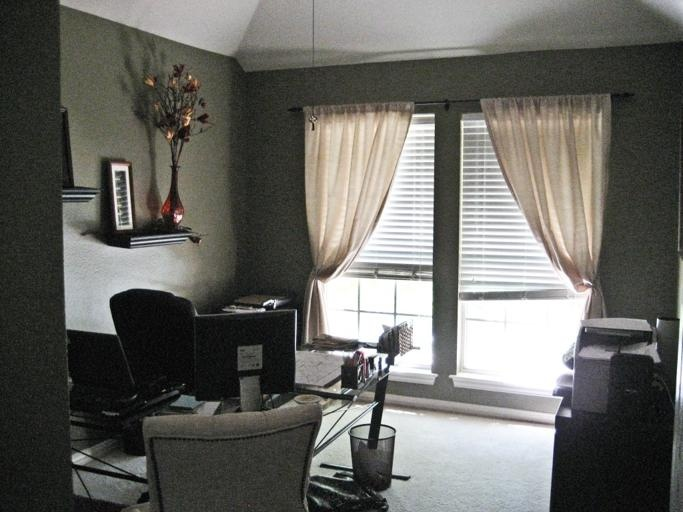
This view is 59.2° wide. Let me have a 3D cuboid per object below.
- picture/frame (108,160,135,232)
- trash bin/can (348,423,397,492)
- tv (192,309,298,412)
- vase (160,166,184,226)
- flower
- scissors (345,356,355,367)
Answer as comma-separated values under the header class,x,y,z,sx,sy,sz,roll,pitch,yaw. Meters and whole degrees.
class,x,y,z,sx,sy,sz,roll,pitch,yaw
picture/frame,-1.496,-0.405,4.080,0.062,0.472,0.214,4,11,26
trash bin/can,0.194,1.245,3.858,0.356,0.370,0.353,-2,-2,43
tv,-0.490,0.537,3.063,0.540,0.461,0.191,0,7,-9
vase,-1.249,-0.440,4.391,0.161,0.443,0.255,-3,10,-16
flower,-1.156,-0.848,4.491,0.383,1.163,0.696,2,10,13
scissors,0.045,0.590,3.353,0.064,0.058,0.037,-1,-11,8
